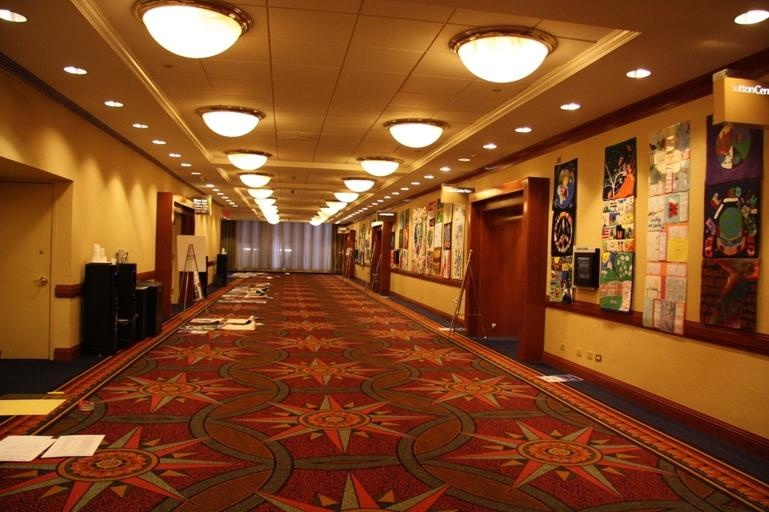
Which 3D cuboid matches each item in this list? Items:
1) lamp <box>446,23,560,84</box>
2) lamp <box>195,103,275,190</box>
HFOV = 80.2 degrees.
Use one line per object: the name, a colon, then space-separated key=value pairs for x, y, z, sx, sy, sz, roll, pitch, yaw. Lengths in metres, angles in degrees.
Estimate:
lamp: x=1.404 y=-2.270 z=5.420 sx=1.252 sy=0.349 sz=1.191 roll=2 pitch=5 yaw=-22
lamp: x=-2.594 y=-2.143 z=7.844 sx=0.822 sy=0.828 sz=0.782 roll=2 pitch=6 yaw=4
